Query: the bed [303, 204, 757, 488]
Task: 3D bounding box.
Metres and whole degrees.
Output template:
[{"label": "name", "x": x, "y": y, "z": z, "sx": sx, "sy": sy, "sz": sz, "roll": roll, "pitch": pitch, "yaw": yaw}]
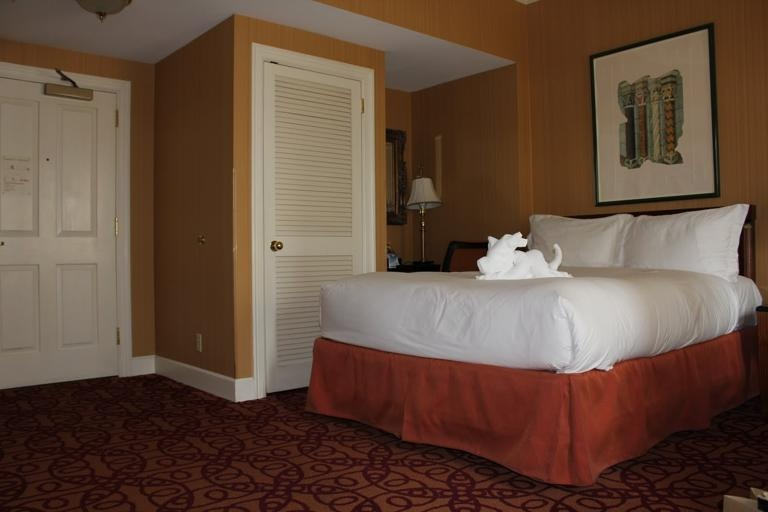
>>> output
[{"label": "bed", "x": 1.229, "y": 0.656, "z": 4.071, "sx": 3.421, "sy": 1.263, "sz": 1.648, "roll": -3, "pitch": 6, "yaw": -16}]
